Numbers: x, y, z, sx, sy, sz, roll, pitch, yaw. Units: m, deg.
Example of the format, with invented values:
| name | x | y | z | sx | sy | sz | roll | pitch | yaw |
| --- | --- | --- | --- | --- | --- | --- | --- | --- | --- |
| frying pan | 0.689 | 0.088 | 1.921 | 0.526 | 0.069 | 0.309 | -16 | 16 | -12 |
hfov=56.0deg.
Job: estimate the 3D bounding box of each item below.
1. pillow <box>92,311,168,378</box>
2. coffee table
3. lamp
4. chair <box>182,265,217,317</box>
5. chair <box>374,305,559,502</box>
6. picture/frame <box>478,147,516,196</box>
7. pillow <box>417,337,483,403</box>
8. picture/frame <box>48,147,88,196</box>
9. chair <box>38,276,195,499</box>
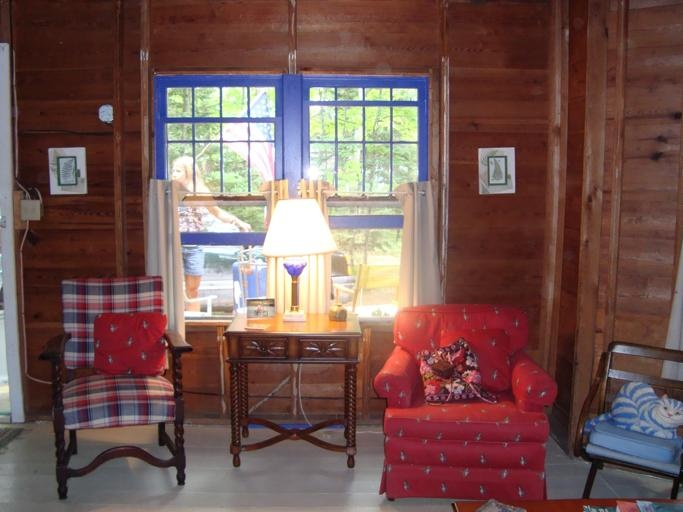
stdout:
| name | x | y | z | sx | sy | sz | roll | pitch | yaw |
| --- | --- | --- | --- | --- | --- | --- | --- | --- | --- |
| pillow | -1.502 | 0.631 | 4.531 | 0.465 | 0.434 | 0.159 | 0 | -5 | -4 |
| coffee table | -0.336 | 0.986 | 4.750 | 0.961 | 0.945 | 0.636 | 1 | 4 | -2 |
| lamp | -0.324 | 0.017 | 4.842 | 0.537 | 0.912 | 0.579 | -3 | 6 | -7 |
| chair | -1.218 | 0.330 | 5.355 | 0.336 | 0.448 | 0.299 | 0 | 2 | 0 |
| chair | 0.902 | 1.007 | 4.670 | 1.140 | 1.148 | 1.287 | 1 | 5 | 16 |
| picture/frame | 1.274 | -0.703 | 5.199 | 0.020 | 0.315 | 0.266 | -12 | 13 | -40 |
| pillow | 0.761 | 0.791 | 4.483 | 0.454 | 0.446 | 0.133 | -17 | -34 | -2 |
| picture/frame | -2.196 | -0.702 | 5.148 | 0.386 | 0.453 | 0.046 | 0 | 0 | -3 |
| chair | -1.626 | 0.861 | 4.496 | 0.923 | 1.285 | 0.904 | -1 | 5 | -32 |
